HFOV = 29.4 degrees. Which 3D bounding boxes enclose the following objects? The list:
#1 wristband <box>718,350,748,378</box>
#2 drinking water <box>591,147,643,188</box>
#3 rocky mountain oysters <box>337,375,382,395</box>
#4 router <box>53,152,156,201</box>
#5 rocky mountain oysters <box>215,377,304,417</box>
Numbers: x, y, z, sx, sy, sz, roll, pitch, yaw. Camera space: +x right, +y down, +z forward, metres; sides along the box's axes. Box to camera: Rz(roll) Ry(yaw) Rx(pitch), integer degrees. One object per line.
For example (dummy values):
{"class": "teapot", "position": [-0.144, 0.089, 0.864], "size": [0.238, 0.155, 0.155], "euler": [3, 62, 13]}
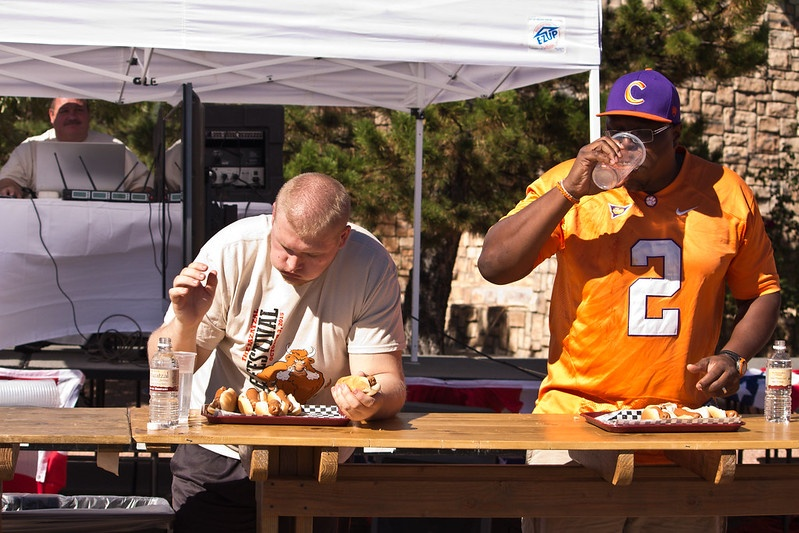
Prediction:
{"class": "wristband", "position": [2.223, 0.625, 10.075], "size": [0.197, 0.131, 0.207], "euler": [38, 4, 19]}
{"class": "drinking water", "position": [1.428, -0.642, 9.922], "size": [0.274, 0.261, 0.328], "euler": [12, 40, 40]}
{"class": "rocky mountain oysters", "position": [-0.269, 0.755, 9.910], "size": [0.183, 0.072, 0.145], "euler": [20, 19, 6]}
{"class": "router", "position": [-2.481, -0.729, 12.958], "size": [0.694, 0.452, 0.219], "euler": [1, -14, -13]}
{"class": "rocky mountain oysters", "position": [-0.925, 0.842, 9.954], "size": [0.469, 0.137, 0.230], "euler": [4, 5, -2]}
